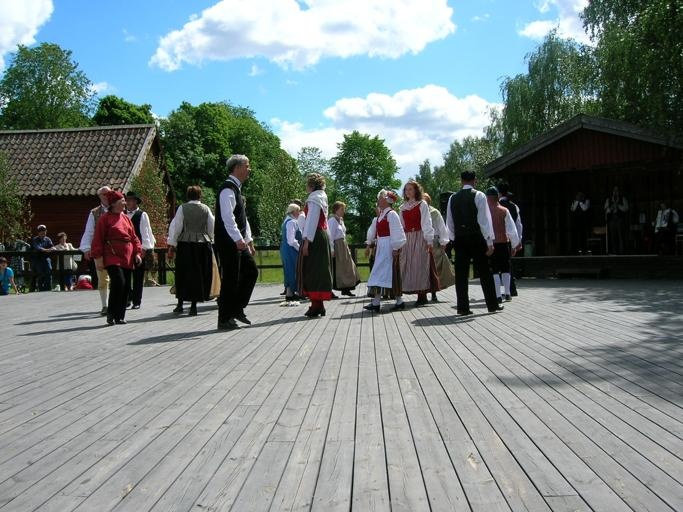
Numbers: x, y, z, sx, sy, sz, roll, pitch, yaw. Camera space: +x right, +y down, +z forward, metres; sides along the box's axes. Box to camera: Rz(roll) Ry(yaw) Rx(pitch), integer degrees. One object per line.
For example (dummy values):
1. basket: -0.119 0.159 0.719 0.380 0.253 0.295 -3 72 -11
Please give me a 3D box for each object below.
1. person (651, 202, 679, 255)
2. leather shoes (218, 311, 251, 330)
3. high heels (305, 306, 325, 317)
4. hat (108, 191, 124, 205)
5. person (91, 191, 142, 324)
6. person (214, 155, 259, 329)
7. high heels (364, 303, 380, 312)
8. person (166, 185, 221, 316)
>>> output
1. person: 9.967 -0.838 16.929 0.628 1.550 0.849 1 3 32
2. leather shoes: -1.550 0.929 7.883 0.313 0.153 0.106 -18 49 -45
3. high heels: -0.430 0.904 8.970 0.304 0.172 0.140 1 0 0
4. hat: -3.537 -0.923 8.646 0.216 0.254 0.196 -10 45 -24
5. person: -3.560 0.013 8.693 0.487 2.080 0.843 -1 3 -1
6. person: -1.559 -0.246 8.148 0.593 2.584 1.332 -1 3 -13
7. high heels: 0.509 0.897 9.465 0.286 0.155 0.122 7 7 32
8. person: -2.534 -0.196 9.438 0.798 1.995 0.394 -2 3 -23
